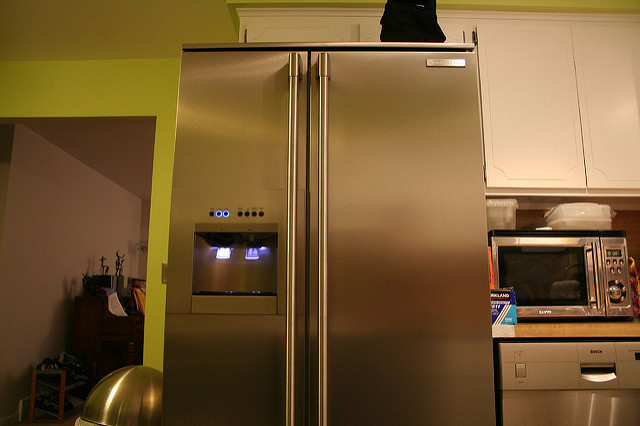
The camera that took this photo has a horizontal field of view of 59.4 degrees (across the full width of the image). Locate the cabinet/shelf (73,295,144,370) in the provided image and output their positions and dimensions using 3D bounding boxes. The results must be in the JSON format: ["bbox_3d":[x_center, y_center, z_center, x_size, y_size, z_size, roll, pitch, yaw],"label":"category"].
[{"bbox_3d":[-2.298,1.358,6.209,0.795,0.821,0.489,-1,-13,11],"label":"cabinet/shelf"}]

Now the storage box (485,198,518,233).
[{"bbox_3d":[1.177,0.021,3.702,0.218,0.272,0.219,0,-5,12],"label":"storage box"}]

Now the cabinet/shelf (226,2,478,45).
[{"bbox_3d":[0.180,-1.317,3.809,1.538,0.299,0.152,0,-13,5],"label":"cabinet/shelf"}]

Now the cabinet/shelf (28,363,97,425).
[{"bbox_3d":[-2.583,1.708,5.701,0.433,0.734,0.790,-1,-10,1],"label":"cabinet/shelf"}]
